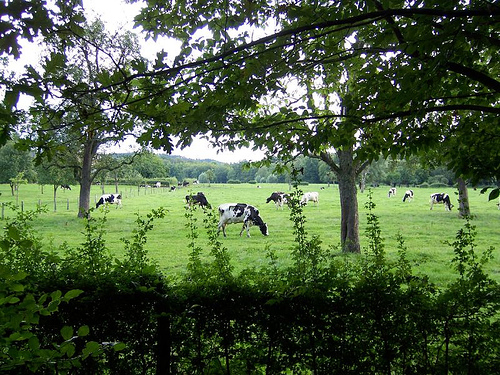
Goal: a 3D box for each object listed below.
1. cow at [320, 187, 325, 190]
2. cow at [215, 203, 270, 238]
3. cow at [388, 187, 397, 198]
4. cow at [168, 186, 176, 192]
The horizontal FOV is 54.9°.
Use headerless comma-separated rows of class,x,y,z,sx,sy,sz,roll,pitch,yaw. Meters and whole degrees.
cow,12.164,0.199,81.731,0.537,0.276,0.761,-2,2,15
cow,-0.540,1.543,22.873,2.539,1.543,1.520,-3,-3,41
cow,17.318,0.672,58.591,0.325,0.814,1.575,17,36,40
cow,-12.411,0.297,77.391,0.714,1.023,1.920,-1,0,-39
